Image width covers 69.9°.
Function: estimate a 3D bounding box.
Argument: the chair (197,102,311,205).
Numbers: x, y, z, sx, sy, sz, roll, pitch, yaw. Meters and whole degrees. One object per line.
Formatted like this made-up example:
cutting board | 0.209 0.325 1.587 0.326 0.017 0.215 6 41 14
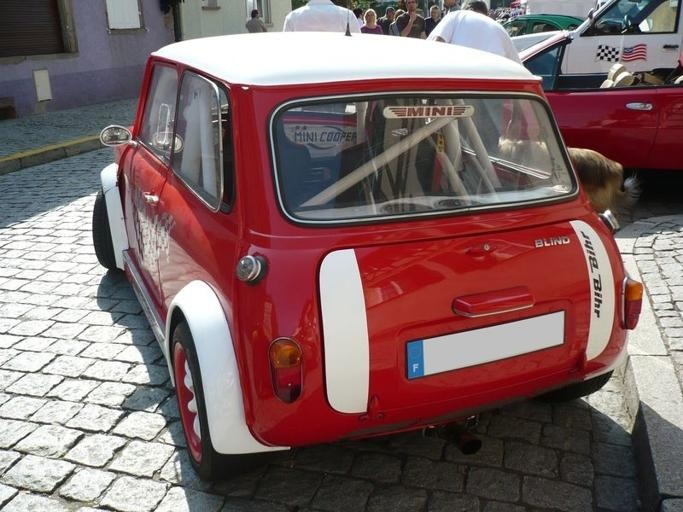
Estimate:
chair | -0.377 -0.459 2.203 0.234 0.521 0.120 -8 -19 30
